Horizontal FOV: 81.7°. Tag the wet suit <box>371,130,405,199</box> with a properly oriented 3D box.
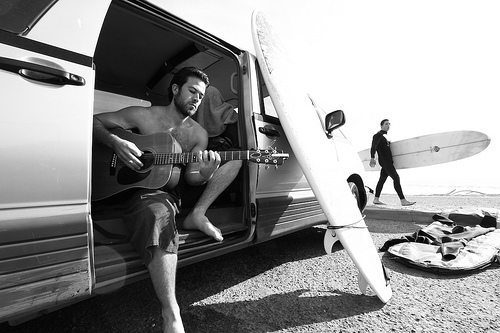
[{"bbox_3d":[2.817,-0.040,5.988,0.407,1.414,0.876,-1,8,-6],"label":"wet suit"}]

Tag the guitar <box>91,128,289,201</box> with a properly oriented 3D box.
[{"bbox_3d":[-0.466,-0.077,2.501,1.634,0.726,0.228,-2,-21,-25],"label":"guitar"}]

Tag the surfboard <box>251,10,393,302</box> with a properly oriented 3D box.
[{"bbox_3d":[0.526,0.226,2.712,0.501,2.497,0.296,-16,-6,-33],"label":"surfboard"}]

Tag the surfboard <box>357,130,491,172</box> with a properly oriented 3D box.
[{"bbox_3d":[3.997,-0.389,6.613,3.429,0.814,0.388,-10,1,0],"label":"surfboard"}]
